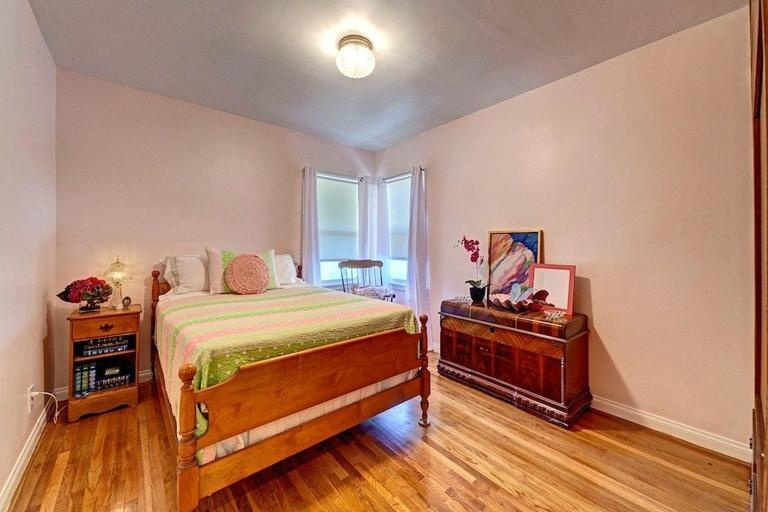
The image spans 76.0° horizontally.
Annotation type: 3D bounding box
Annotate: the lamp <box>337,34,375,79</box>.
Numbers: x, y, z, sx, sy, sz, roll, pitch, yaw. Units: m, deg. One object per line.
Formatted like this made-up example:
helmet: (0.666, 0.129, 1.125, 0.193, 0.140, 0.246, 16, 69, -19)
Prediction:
lamp: (-0.267, -1.812, 4.498, 0.308, 0.112, 0.312, 3, -12, -8)

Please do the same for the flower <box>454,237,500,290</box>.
flower: (1.051, 0.070, 5.533, 0.500, 0.691, 0.381, 5, -6, -31)

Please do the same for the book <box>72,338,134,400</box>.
book: (-2.678, 1.068, 4.650, 0.602, 0.584, 0.210, 0, -2, -45)

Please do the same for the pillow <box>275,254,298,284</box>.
pillow: (-1.163, 0.149, 5.758, 0.093, 0.309, 0.321, -28, -20, 27)

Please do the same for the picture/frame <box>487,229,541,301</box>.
picture/frame: (1.398, 0.097, 5.212, 0.074, 1.132, 0.740, 4, -4, -39)

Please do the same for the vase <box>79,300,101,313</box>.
vase: (-2.841, 0.476, 4.743, 0.116, 0.079, 0.158, 0, 2, -27)

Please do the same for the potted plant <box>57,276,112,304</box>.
potted plant: (-2.805, 0.330, 4.644, 0.321, 0.159, 0.314, 2, 7, -34)

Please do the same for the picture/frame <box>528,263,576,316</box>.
picture/frame: (1.681, 0.344, 4.888, 0.021, 0.576, 0.490, 12, -9, -40)

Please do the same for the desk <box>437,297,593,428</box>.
desk: (1.291, 0.970, 5.122, 0.654, 0.946, 1.526, -9, 11, -38)

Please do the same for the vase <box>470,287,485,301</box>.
vase: (0.992, 0.402, 5.250, 0.147, 0.129, 0.141, -2, -1, 39)

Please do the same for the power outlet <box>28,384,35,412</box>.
power outlet: (-3.017, 1.201, 4.197, 0.020, 0.219, 0.111, -5, 3, -21)
